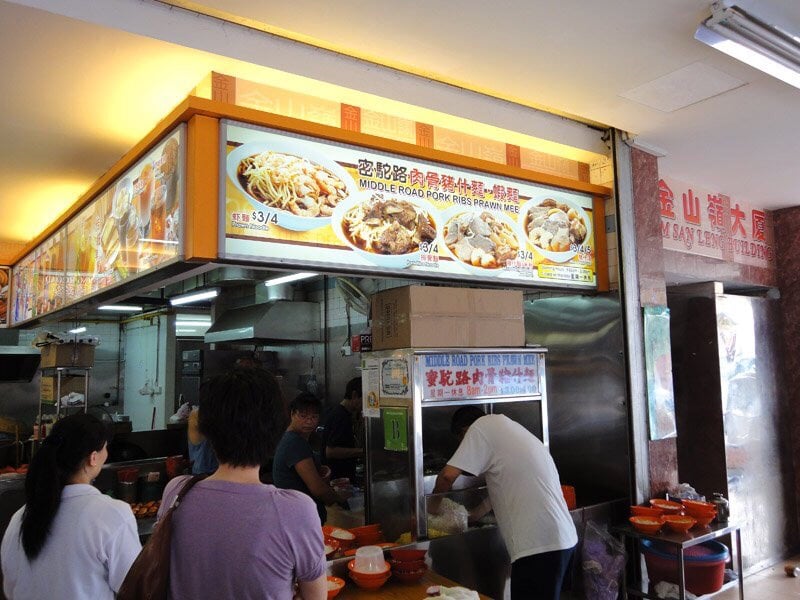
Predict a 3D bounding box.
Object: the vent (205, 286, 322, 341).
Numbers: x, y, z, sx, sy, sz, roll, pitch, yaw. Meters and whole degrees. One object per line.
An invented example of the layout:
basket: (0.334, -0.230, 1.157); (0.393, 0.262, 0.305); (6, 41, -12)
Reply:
vent: (-1.743, 0.274, 7.271); (1.433, 0.556, 0.819); (-6, -8, 26)

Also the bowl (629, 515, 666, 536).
bowl: (1.674, 1.494, 3.886); (0.208, 0.096, 0.174); (-4, -7, 15)

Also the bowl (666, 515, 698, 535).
bowl: (1.876, 1.469, 3.876); (0.145, 0.057, 0.148); (0, -4, 0)

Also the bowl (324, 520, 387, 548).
bowl: (-0.266, 1.334, 3.275); (0.236, 0.071, 0.228); (-6, -8, -1)

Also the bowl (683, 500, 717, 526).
bowl: (2.087, 1.434, 3.999); (0.191, 0.107, 0.188); (0, -12, 0)

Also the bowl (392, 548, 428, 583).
bowl: (0.055, 1.373, 3.023); (0.165, 0.110, 0.162); (-1, -19, 0)

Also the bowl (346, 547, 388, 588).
bowl: (-0.143, 1.354, 2.939); (0.189, 0.142, 0.184); (-1, -10, 0)

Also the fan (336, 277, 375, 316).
fan: (-0.493, -0.055, 6.204); (0.287, 0.463, 0.729); (-1, -7, -11)

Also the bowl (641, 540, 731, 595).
bowl: (2.003, 1.786, 3.925); (0.581, 0.313, 0.369); (0, -8, -18)
